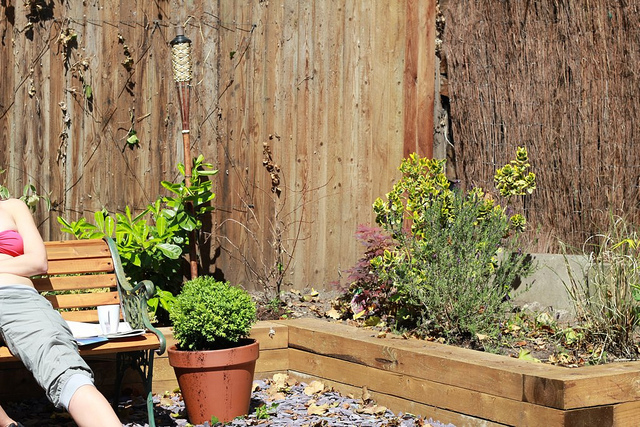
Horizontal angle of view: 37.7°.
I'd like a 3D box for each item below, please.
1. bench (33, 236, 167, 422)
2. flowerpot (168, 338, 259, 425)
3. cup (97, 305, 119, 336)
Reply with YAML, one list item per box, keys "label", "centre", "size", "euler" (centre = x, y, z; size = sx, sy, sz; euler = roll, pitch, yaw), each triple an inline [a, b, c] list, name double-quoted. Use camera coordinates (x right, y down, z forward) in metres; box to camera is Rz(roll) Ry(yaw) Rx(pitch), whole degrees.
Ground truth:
- label: "bench"
  centre: [-1.649, 0.890, 6.973]
  size: [1.117, 0.969, 0.566]
  euler: [-1, 0, -36]
- label: "flowerpot"
  centre: [-0.776, 1.240, 6.941]
  size: [0.503, 0.514, 0.571]
  euler: [-4, -6, 13]
- label: "cup"
  centre: [-1.511, 0.759, 6.785]
  size: [0.114, 0.210, 0.203]
  euler: [0, -3, -6]
